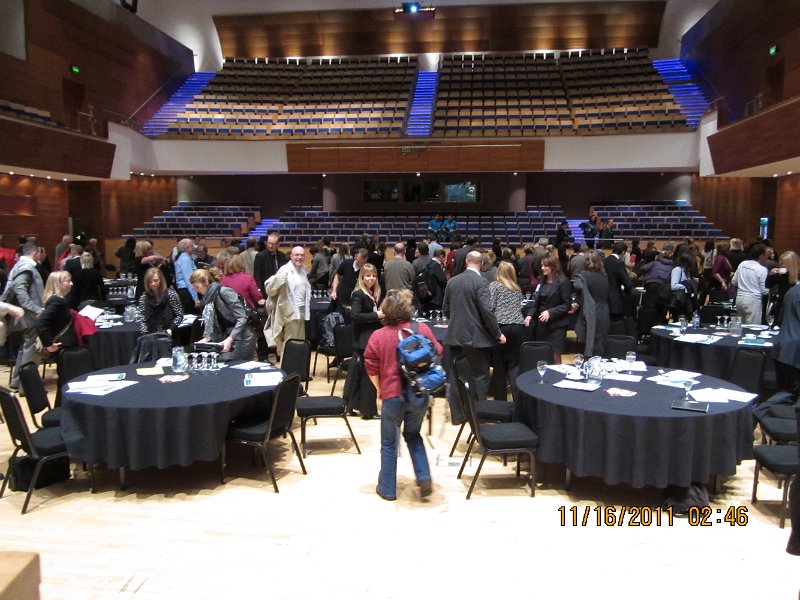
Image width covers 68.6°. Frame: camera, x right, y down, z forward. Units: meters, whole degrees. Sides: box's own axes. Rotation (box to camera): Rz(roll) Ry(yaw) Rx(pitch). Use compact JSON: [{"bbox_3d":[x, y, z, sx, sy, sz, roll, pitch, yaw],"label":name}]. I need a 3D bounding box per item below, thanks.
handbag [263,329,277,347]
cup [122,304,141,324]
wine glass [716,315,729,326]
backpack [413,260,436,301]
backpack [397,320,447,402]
[{"bbox_3d":[-1.626,0.478,7.398,0.195,0.205,0.072,0,9,19],"label":"handbag"},{"bbox_3d":[-3.828,0.212,8.388,0.206,0.234,0.217,1,11,0],"label":"cup"},{"bbox_3d":[4.279,0.274,7.793,0.113,0.202,0.132,1,4,13],"label":"wine glass"},{"bbox_3d":[0.266,-0.283,8.951,0.306,0.460,0.252,-7,29,-39],"label":"backpack"},{"bbox_3d":[0.176,0.533,4.854,0.380,0.654,0.358,-1,11,0],"label":"backpack"}]
